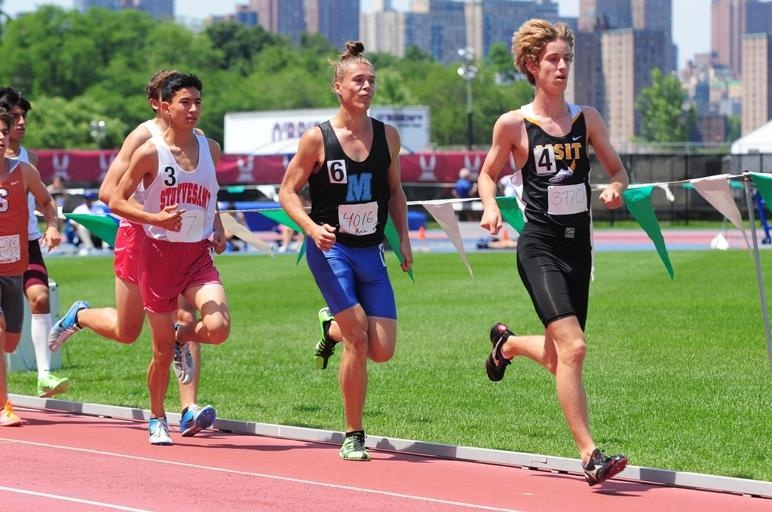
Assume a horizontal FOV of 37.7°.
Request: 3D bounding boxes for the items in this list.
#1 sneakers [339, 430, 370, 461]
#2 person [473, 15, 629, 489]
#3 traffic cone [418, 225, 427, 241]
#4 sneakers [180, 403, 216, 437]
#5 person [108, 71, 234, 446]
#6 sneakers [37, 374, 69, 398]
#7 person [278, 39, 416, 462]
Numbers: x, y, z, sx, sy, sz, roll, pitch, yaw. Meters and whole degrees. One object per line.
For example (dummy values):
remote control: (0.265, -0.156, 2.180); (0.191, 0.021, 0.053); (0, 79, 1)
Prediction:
sneakers: (-0.260, 1.529, 9.145); (0.230, 0.232, 0.160); (-3, 4, -4)
person: (1.291, -0.072, 8.772); (1.156, 3.577, 0.911); (-2, 4, 23)
traffic cone: (0.976, -0.634, 30.833); (0.320, 0.299, 0.564); (2, 36, 0)
sneakers: (-1.631, 1.373, 9.539); (0.387, 0.185, 0.171); (-34, -33, 28)
person: (-1.766, 0.020, 9.436); (0.857, 3.091, 0.753); (-4, 4, -8)
sneakers: (-3.145, 1.222, 10.709); (0.187, 0.156, 0.437); (33, -28, -34)
person: (-0.263, -0.059, 9.289); (1.036, 3.365, 0.609); (-7, 5, -39)
